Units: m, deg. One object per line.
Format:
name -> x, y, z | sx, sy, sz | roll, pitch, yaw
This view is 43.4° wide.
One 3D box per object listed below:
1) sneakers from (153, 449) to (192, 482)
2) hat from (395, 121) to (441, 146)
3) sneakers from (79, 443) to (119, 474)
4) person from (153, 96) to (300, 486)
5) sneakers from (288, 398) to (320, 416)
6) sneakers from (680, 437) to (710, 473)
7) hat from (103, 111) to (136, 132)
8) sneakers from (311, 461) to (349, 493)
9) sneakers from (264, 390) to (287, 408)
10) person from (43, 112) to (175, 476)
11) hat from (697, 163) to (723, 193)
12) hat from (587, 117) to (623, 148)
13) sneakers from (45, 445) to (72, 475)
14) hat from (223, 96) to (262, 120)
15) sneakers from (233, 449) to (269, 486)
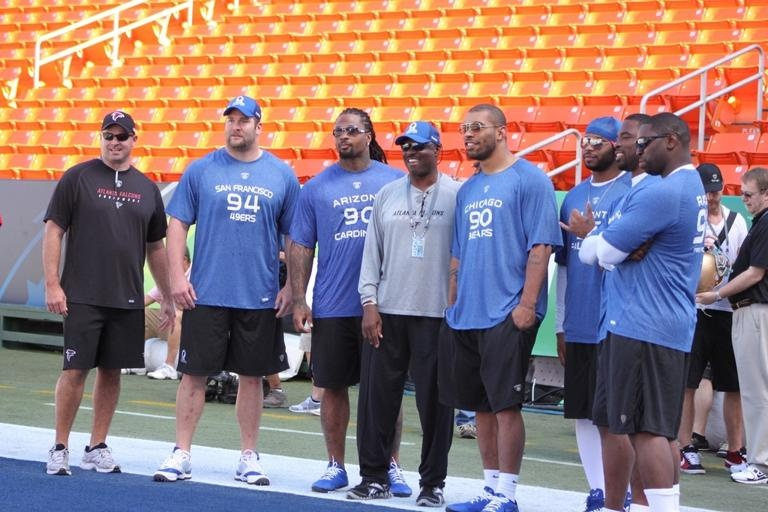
sneakers -> -1.635, 1.613, 7.436 | 0.197, 0.249, 0.480 | 0, -6, 18
hat -> 0.289, -0.929, 7.300 | 0.192, 0.122, 0.277 | -2, -3, 39
sneakers -> -2.232, 1.579, 7.593 | 0.377, 0.207, 0.156 | 4, 2, 26
person -> -1.230, 0.409, 7.574 | 1.030, 2.637, 0.479 | 3, 2, -10
sneakers -> -0.829, 1.665, 10.626 | 0.433, 0.171, 0.160 | 1, -3, -1
sneakers -> 2.721, 1.796, 8.675 | 0.249, 0.268, 0.678 | -1, -5, 4
hat -> -2.128, -1.088, 7.749 | 0.243, 0.183, 0.361 | 3, 1, -15
sneakers -> -0.394, 1.716, 7.392 | 0.135, 0.155, 0.369 | -1, -9, 25
sneakers -> -1.208, 1.592, 10.740 | 0.320, 0.140, 0.117 | 6, -6, -38
person -> -2.242, 0.269, 7.822 | 1.198, 2.875, 0.814 | 5, -7, -44
hat -> 2.882, -0.699, 8.585 | 0.254, 0.188, 0.375 | -9, 26, 19
hat -> 1.691, -0.952, 7.239 | 0.177, 0.164, 0.254 | 25, 2, 39
sneakers -> -2.495, 1.559, 7.405 | 0.178, 0.217, 0.186 | 3, 2, -18
hat -> -1.082, -1.201, 7.621 | 0.187, 0.133, 0.259 | 12, -11, 22
sneakers -> -1.021, 1.633, 7.497 | 0.238, 0.234, 0.304 | 2, 2, -22
